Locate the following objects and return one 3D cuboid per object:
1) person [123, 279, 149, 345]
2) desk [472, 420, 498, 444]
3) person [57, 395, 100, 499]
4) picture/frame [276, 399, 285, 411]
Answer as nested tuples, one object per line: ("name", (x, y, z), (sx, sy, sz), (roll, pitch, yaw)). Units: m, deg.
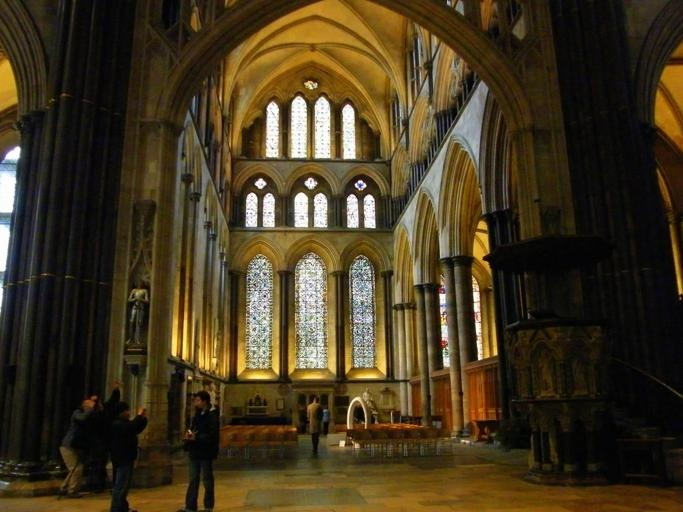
("person", (-4.564, 1.299, 13.678), (0.493, 1.541, 0.267), (1, -16, -10))
("desk", (4.720, 5.762, 19.981), (0.668, 0.701, 1.121), (3, -27, 1))
("person", (-4.906, 3.534, 11.351), (0.569, 1.808, 1.333), (5, -17, -23))
("picture/frame", (-3.189, 7.794, 31.900), (0.604, 0.758, 0.079), (1, -25, -4))
